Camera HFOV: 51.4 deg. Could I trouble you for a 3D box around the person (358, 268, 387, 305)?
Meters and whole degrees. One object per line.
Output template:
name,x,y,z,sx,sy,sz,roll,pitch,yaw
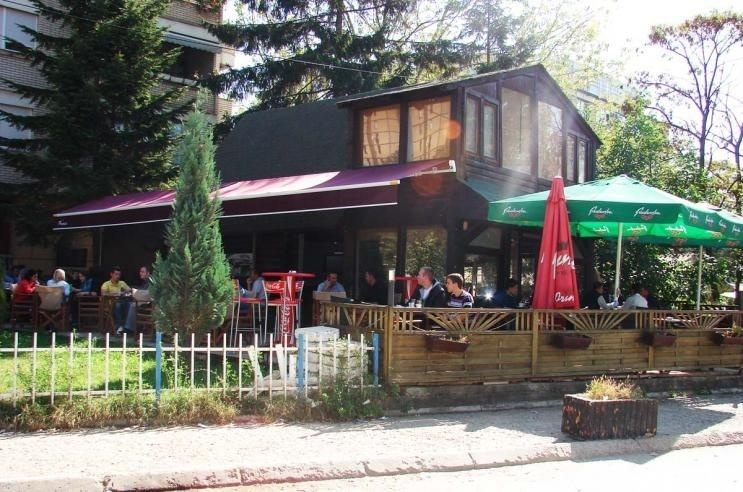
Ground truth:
person,0.042,1.015,19.615,0.597,0.846,0.512,-2,34,18

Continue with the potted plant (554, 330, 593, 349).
potted plant,4.283,2.021,16.527,0.808,0.357,0.303,2,-7,-14

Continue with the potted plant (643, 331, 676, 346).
potted plant,6.391,2.058,17.221,0.561,0.238,0.370,2,2,-23

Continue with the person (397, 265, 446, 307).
person,1.177,0.932,16.921,0.768,0.961,1.239,-3,14,-27

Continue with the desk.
desk,3.692,1.594,16.759,8.105,0.574,1.001,3,-7,-15

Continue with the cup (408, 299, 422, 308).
cup,0.943,1.235,16.615,0.273,0.202,0.157,0,0,3

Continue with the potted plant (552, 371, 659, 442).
potted plant,4.252,2.988,14.376,1.210,0.878,1.203,2,-13,-15
